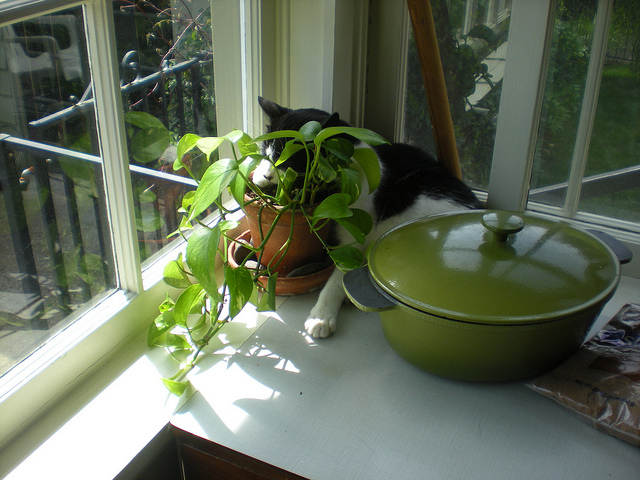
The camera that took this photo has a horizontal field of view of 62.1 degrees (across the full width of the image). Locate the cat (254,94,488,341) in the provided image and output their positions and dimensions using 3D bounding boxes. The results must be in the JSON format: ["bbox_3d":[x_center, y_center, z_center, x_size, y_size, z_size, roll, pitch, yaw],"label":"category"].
[{"bbox_3d":[0.126,-0.113,1.264,0.697,0.540,0.257,-3,28,-36],"label":"cat"}]

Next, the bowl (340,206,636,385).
[{"bbox_3d":[0.302,0.095,0.950,0.522,0.274,0.281,0,29,-1],"label":"bowl"}]

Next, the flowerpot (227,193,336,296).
[{"bbox_3d":[-0.079,0.017,1.100,0.195,0.182,0.212,1,32,0],"label":"flowerpot"}]

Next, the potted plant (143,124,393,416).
[{"bbox_3d":[-0.074,-0.033,1.111,0.407,0.264,0.584,22,42,27],"label":"potted plant"}]
